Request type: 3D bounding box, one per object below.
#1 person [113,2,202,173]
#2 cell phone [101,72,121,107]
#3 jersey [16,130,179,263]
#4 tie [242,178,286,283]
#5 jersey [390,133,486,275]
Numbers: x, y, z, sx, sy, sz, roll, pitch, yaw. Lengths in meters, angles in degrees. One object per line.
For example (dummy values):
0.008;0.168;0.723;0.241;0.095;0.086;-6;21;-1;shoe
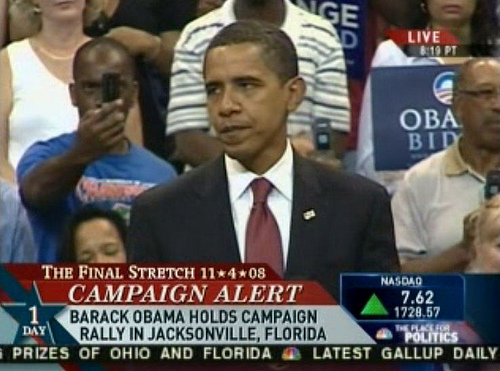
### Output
-0.554;-0.554;6.353;0.653;0.901;0.312;2;7;-1;person
-0.804;-0.558;6.611;0.110;0.189;0.049;0;13;4;cell phone
-0.888;0.077;6.813;1.049;0.958;0.438;-4;53;-22;jersey
0.076;0.262;6.559;0.234;0.557;0.188;-1;13;-1;tie
1.097;0.123;6.669;0.772;0.726;0.315;-2;5;-12;jersey
